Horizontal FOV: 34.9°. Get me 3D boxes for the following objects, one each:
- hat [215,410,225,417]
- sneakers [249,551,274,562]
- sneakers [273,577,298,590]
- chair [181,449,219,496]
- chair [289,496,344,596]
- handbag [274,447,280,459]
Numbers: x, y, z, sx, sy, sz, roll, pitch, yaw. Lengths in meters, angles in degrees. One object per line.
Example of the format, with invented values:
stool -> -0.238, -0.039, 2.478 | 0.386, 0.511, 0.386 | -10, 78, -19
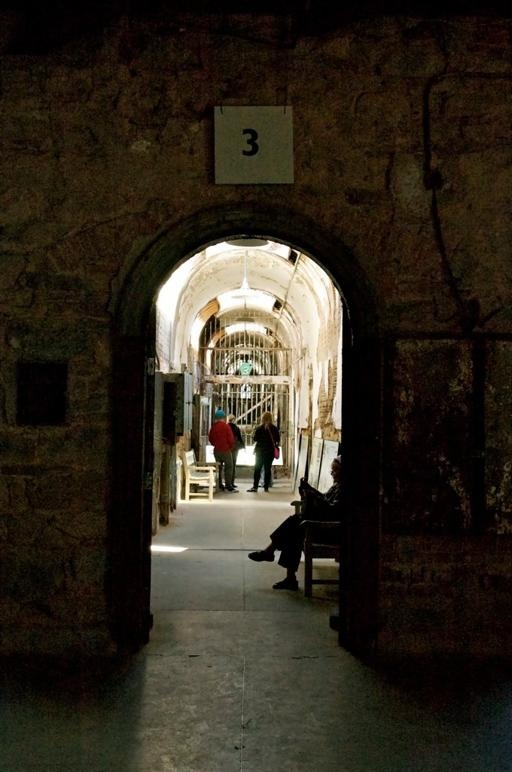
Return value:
hat -> -0.574, 0.422, 12.725 | 0.109, 0.066, 0.112 | 3, 6, 18
sneakers -> 0.050, 1.505, 7.181 | 0.251, 0.119, 0.094 | 4, -5, 7
sneakers -> 0.238, 1.592, 6.572 | 0.200, 0.087, 0.090 | 4, -5, 4
chair -> -0.824, 1.340, 12.611 | 0.477, 0.669, 1.281 | 1, -2, -1
chair -> 0.514, 1.337, 6.565 | 0.590, 0.917, 0.541 | 1, -5, 8
handbag -> 0.341, 1.098, 13.391 | 0.118, 0.212, 0.053 | 3, -7, -18
